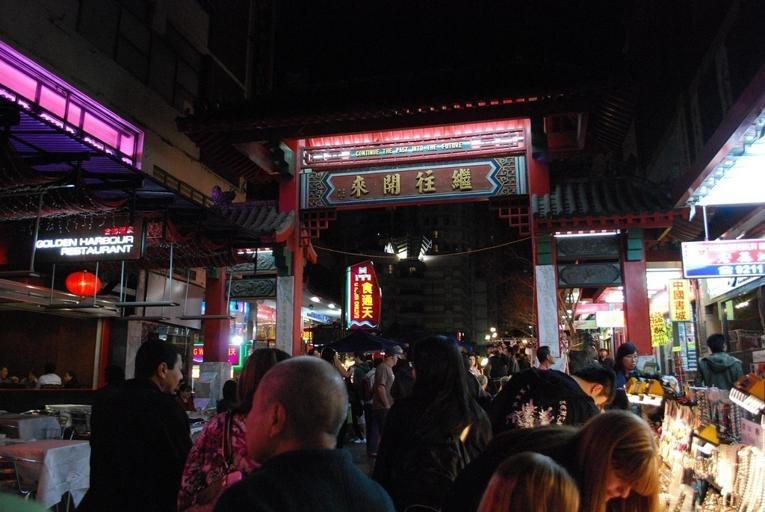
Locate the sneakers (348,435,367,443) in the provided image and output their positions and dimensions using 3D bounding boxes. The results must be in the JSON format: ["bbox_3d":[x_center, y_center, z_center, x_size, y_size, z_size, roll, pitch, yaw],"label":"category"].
[{"bbox_3d":[-0.657,5.047,16.364,0.542,0.240,0.183,3,-13,3],"label":"sneakers"}]

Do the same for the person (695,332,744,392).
[{"bbox_3d":[6.000,1.852,10.537,0.687,0.962,0.507,-6,-13,27],"label":"person"}]
